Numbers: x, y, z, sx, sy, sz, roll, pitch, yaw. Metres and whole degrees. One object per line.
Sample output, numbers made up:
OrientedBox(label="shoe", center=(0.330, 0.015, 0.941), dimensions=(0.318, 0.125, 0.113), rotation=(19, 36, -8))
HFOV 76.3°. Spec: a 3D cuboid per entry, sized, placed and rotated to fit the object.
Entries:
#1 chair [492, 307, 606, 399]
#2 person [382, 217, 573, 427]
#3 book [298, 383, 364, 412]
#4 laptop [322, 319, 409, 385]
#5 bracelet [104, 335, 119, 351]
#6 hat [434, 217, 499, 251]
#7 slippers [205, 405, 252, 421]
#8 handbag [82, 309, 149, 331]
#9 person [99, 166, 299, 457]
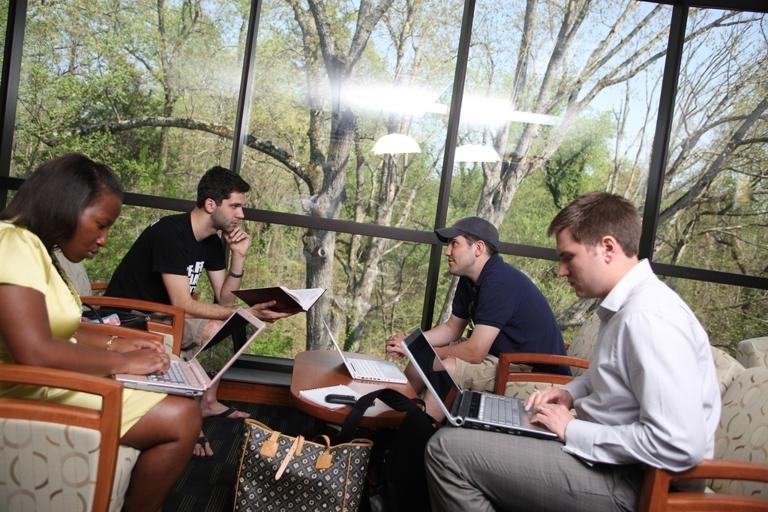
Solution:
OrientedBox(label="chair", center=(0.987, 0.568, 3.022), dimensions=(0.640, 0.849, 0.550), rotation=(2, -4, 20))
OrientedBox(label="person", center=(0.557, 0.535, 3.093), dimensions=(1.151, 1.478, 0.707), rotation=(1, 4, -10))
OrientedBox(label="book", center=(-0.252, 0.676, 2.373), dimensions=(0.299, 0.037, 0.246), rotation=(4, 8, -37))
OrientedBox(label="laptop", center=(-0.124, 0.520, 2.846), dimensions=(0.515, 0.319, 0.560), rotation=(5, -1, -19))
OrientedBox(label="bracelet", center=(-1.242, 0.391, 2.218), dimensions=(0.020, 0.050, 0.037), rotation=(28, -31, -37))
OrientedBox(label="hat", center=(0.537, -0.155, 3.077), dimensions=(0.387, 0.199, 0.273), rotation=(10, -7, 14))
OrientedBox(label="slippers", center=(-1.032, 1.050, 3.305), dimensions=(0.334, 0.082, 0.124), rotation=(1, 5, -10))
OrientedBox(label="handbag", center=(-1.519, 0.344, 2.747), dimensions=(0.245, 0.092, 0.181), rotation=(7, -10, -1))
OrientedBox(label="person", center=(-1.192, 0.309, 3.197), dimensions=(1.136, 1.657, 0.634), rotation=(6, 6, 4))
